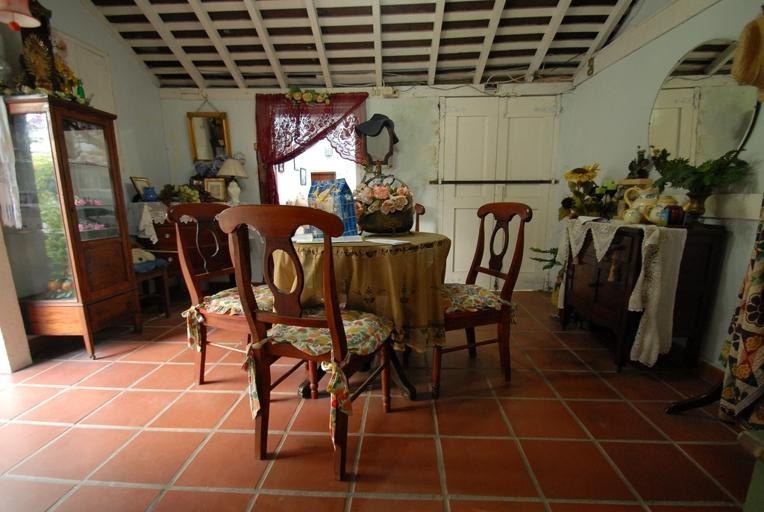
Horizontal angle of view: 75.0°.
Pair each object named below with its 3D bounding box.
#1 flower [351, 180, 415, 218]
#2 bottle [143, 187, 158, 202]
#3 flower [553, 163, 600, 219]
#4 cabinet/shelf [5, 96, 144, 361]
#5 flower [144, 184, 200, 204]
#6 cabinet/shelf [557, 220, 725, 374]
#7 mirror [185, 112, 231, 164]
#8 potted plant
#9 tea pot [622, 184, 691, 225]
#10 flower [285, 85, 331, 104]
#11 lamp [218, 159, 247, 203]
[{"bbox_3d":[0.023,-0.491,3.913,0.529,0.207,0.485,-10,23,1],"label":"flower"},{"bbox_3d":[-2.442,-0.628,5.193,0.170,0.145,0.157,1,-29,-23],"label":"bottle"},{"bbox_3d":[1.940,-0.600,4.681,0.338,0.506,0.420,7,15,25],"label":"flower"},{"bbox_3d":[-2.677,-0.253,4.163,0.938,2.082,0.618,-7,16,-25],"label":"cabinet/shelf"},{"bbox_3d":[-2.262,-0.653,5.307,0.528,0.163,0.382,-4,7,-39],"label":"flower"},{"bbox_3d":[2.151,0.325,3.903,0.514,0.967,1.124,3,13,0],"label":"cabinet/shelf"},{"bbox_3d":[-2.006,-1.348,5.733,0.041,0.551,0.544,9,19,34],"label":"mirror"},{"bbox_3d":[2.381,-0.595,3.895,0.465,0.532,0.824,-6,14,-24],"label":"potted plant"},{"bbox_3d":[2.203,-0.408,3.968,0.351,0.183,0.446,-4,7,-27],"label":"tea pot"},{"bbox_3d":[-0.827,-1.760,5.520,0.427,0.145,0.204,6,13,-1],"label":"flower"},{"bbox_3d":[-1.686,-0.838,5.583,0.312,0.450,0.321,2,7,31],"label":"lamp"}]
